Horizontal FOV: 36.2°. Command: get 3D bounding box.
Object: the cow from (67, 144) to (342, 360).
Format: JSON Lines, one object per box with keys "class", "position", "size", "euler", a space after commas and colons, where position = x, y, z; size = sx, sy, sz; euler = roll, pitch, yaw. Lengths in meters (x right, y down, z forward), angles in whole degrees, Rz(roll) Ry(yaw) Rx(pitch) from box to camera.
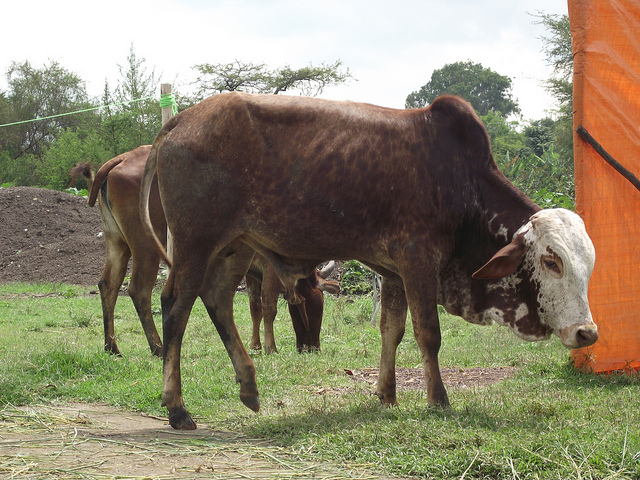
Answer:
{"class": "cow", "position": [-1.731, 0.585, 15.596], "size": [4.918, 3.171, 1.300], "euler": [17, -29, -39]}
